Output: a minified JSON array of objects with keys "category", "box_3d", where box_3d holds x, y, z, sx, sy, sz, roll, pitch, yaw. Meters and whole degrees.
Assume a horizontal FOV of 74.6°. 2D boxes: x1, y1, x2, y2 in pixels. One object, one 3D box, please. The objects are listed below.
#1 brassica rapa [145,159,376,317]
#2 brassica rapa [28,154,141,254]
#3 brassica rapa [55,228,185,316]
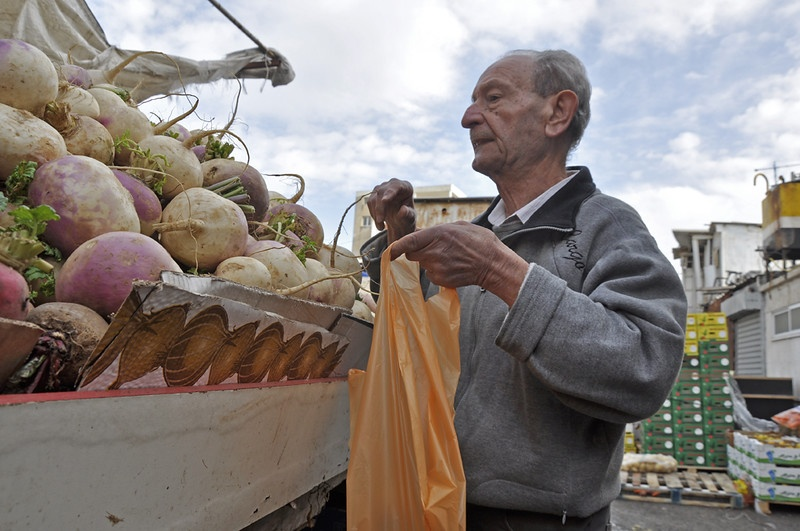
[{"category":"brassica rapa","box_3d":[-0.596,-0.060,2.191,0.986,0.350,0.582,37,1,-2]},{"category":"brassica rapa","box_3d":[-1.108,-0.254,1.882,0.282,0.219,0.363,40,-5,-26]},{"category":"brassica rapa","box_3d":[-0.894,0.018,1.802,0.317,0.322,0.336,1,-36,-9]}]
